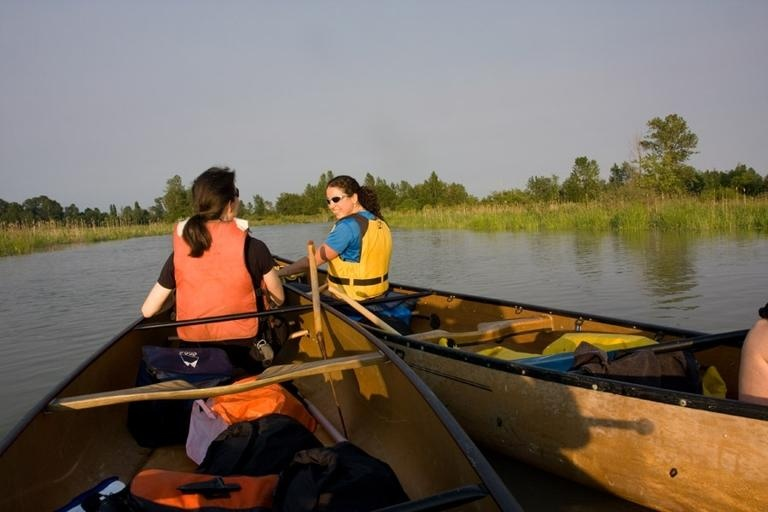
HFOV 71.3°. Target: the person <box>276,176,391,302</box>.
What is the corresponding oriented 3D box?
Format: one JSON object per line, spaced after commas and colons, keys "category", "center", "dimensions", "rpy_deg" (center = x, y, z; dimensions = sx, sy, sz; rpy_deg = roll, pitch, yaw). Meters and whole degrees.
{"category": "person", "center": [-0.516, -0.181, 5.770], "dimensions": [1.052, 1.290, 0.894], "rpy_deg": [0, 3, 16]}
